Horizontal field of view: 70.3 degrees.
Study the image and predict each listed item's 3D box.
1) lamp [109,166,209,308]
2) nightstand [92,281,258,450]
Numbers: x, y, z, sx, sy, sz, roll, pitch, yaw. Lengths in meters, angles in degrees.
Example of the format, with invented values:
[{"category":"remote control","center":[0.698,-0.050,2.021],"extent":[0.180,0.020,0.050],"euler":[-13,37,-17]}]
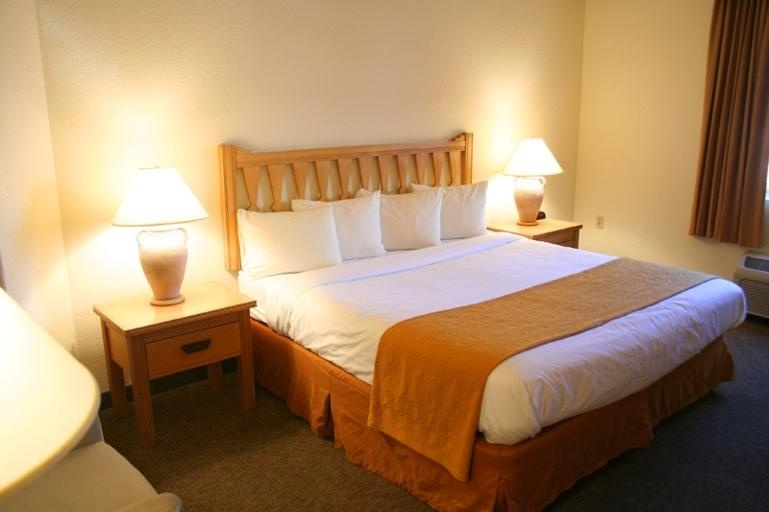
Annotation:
[{"category":"lamp","center":[-1.452,-0.113,3.569],"extent":[0.590,0.895,0.591],"euler":[-1,7,-5]},{"category":"nightstand","center":[-1.383,0.680,3.707],"extent":[0.705,0.811,0.854],"euler":[15,21,40]}]
